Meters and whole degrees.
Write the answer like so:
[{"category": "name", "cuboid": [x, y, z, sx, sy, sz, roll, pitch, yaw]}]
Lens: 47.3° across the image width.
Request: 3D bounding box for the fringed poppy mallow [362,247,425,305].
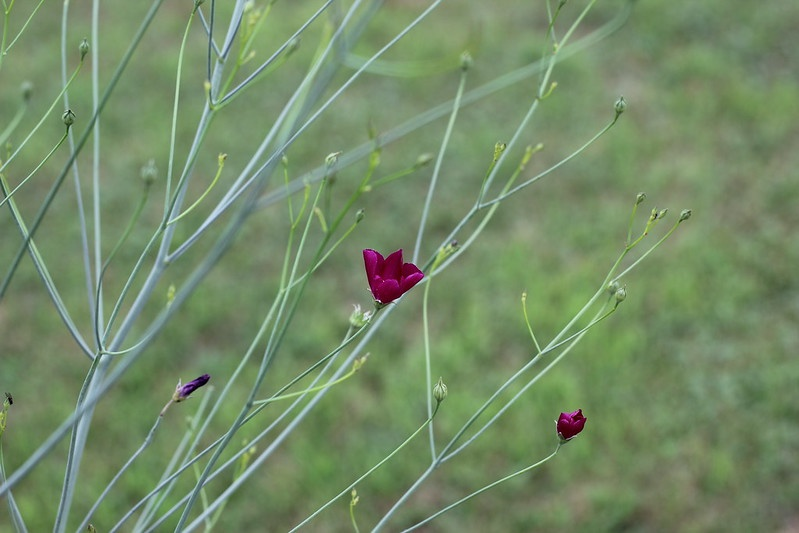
[{"category": "fringed poppy mallow", "cuboid": [-0.021, 0.007, 3.080, 0.170, 0.203, 0.147, -4, -28, -29]}]
